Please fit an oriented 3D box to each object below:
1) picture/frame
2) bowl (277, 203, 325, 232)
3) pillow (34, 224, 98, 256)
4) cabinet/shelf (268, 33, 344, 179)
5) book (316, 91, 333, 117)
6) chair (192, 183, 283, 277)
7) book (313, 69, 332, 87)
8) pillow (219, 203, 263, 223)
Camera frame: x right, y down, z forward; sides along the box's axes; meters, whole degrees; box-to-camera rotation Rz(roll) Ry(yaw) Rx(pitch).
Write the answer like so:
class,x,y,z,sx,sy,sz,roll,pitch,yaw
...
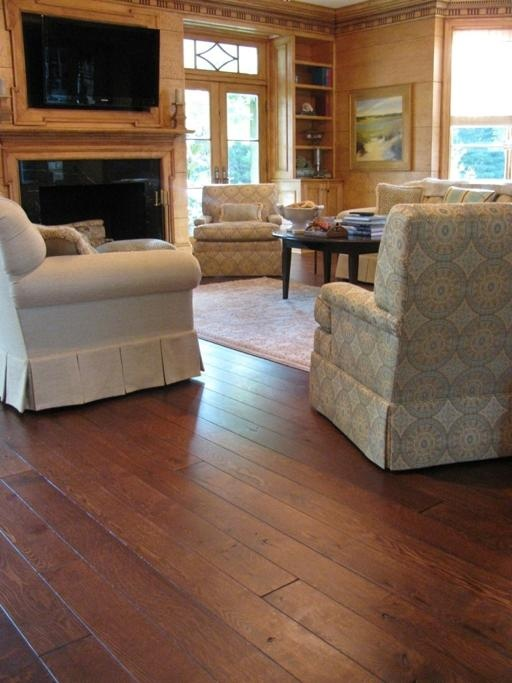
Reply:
class,x,y,z,sx,sy,sz,roll,pitch,yaw
picture/frame,1.745,-2.969,7.668,0.057,1.294,1.242,-11,18,-32
bowl,0.416,-1.098,4.890,0.304,0.197,0.380,-5,7,-36
pillow,-0.869,-0.445,2.539,0.177,0.106,0.178,-7,19,-30
cabinet/shelf,0.671,-3.334,8.057,0.502,1.977,0.967,9,17,41
book,1.014,-3.491,8.218,0.219,0.351,0.378,-3,17,-12
chair,-0.180,-1.229,6.441,1.252,1.115,1.193,-1,13,-3
book,0.955,-3.807,8.062,0.272,0.257,0.120,-1,12,4
pillow,-0.171,-1.469,6.394,0.544,0.319,0.156,-2,-7,-5
